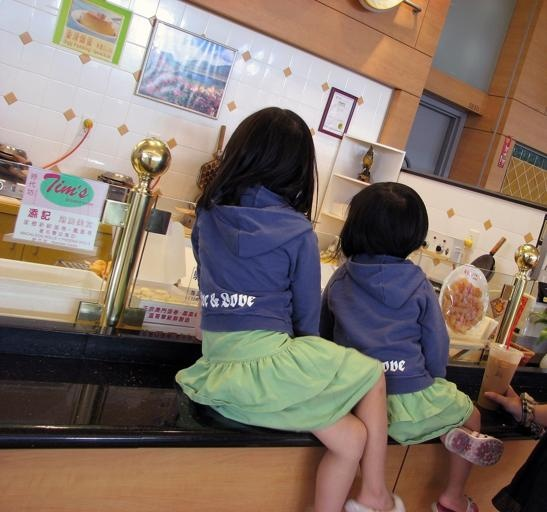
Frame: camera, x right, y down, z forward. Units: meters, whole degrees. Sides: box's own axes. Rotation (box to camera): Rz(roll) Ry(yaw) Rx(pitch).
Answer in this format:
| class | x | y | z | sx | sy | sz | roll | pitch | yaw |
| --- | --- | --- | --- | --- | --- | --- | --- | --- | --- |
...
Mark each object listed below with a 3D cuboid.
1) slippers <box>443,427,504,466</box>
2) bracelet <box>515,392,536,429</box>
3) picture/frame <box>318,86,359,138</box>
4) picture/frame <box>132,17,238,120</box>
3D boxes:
| class | x | y | z | sx | sy | sz | roll | pitch | yaw |
| --- | --- | --- | --- | --- | --- | --- | --- | --- | --- |
| slippers | 0.548 | 0.512 | 1.214 | 0.164 | 0.082 | 0.066 | 20 | 19 | 10 |
| bracelet | 0.838 | 0.518 | 1.432 | 0.036 | 0.083 | 0.071 | 15 | -20 | -14 |
| picture/frame | 0.475 | -1.077 | 3.197 | 0.361 | 0.380 | 0.027 | 20 | 9 | -37 |
| picture/frame | -0.589 | -1.216 | 2.745 | 0.666 | 0.490 | 0.043 | 14 | 13 | -23 |
